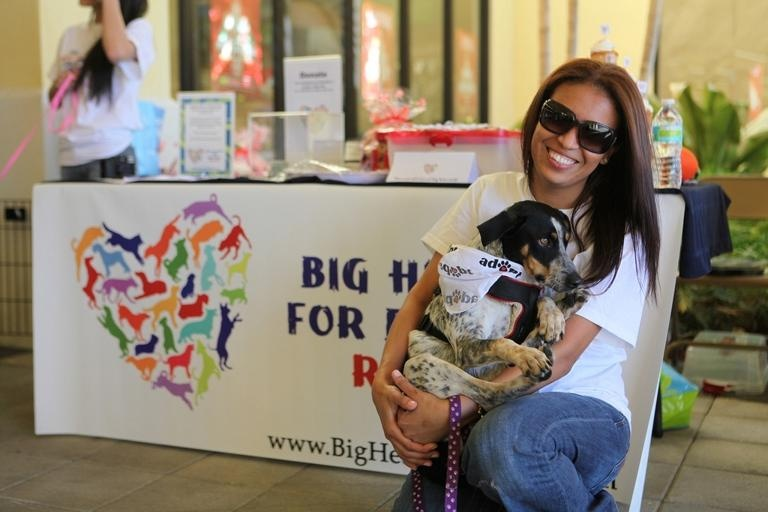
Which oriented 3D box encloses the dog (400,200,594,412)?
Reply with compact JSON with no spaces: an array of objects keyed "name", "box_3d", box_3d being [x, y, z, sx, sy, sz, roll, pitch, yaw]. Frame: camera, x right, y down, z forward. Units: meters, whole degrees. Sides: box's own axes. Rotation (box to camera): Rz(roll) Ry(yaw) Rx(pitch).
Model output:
[{"name":"dog","box_3d":[0.395,0.181,2.381,0.512,0.732,0.560,6,10,-41]}]
